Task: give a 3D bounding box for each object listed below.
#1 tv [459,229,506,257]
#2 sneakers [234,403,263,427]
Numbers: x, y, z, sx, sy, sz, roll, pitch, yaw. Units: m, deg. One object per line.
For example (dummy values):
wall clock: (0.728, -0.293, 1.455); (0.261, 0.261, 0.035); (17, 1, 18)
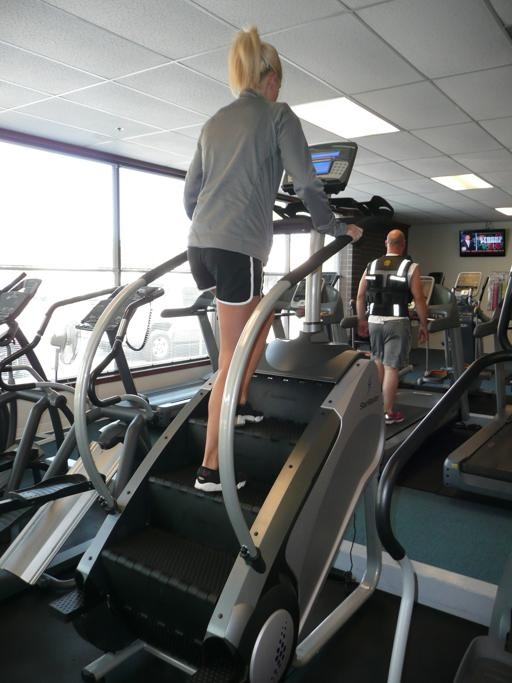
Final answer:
tv: (4.767, -2.060, 9.939); (0.587, 0.428, 0.064); (5, 9, 33)
sneakers: (-0.027, 0.280, 1.767); (0.043, 0.054, 0.121); (3, 6, 35)
